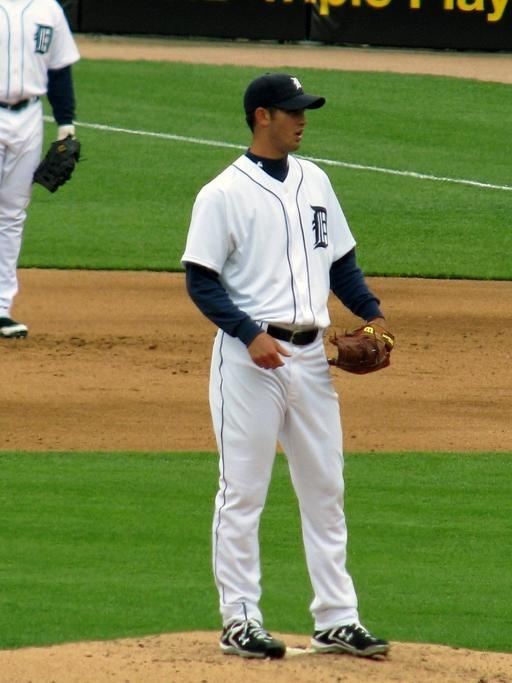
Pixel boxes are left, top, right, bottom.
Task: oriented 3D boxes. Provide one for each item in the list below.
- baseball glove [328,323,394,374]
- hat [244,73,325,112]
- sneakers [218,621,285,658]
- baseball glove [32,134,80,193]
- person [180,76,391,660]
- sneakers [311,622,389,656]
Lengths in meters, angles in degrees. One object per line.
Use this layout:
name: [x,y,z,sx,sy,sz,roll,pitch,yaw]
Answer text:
baseball glove: [0.477,0.039,7.903,0.253,0.202,0.134,-1,24,28]
hat: [0.112,-1.067,7.770,0.271,0.153,0.184,-9,6,19]
sneakers: [-0.008,1.290,7.624,0.241,0.125,0.131,0,-2,36]
baseball glove: [-1.227,-1.140,10.796,0.303,0.160,0.447,-25,-14,-4]
person: [0.107,0.103,7.674,0.886,2.421,0.902,3,14,-1]
sneakers: [0.412,1.293,7.737,0.336,0.176,0.124,1,1,21]
